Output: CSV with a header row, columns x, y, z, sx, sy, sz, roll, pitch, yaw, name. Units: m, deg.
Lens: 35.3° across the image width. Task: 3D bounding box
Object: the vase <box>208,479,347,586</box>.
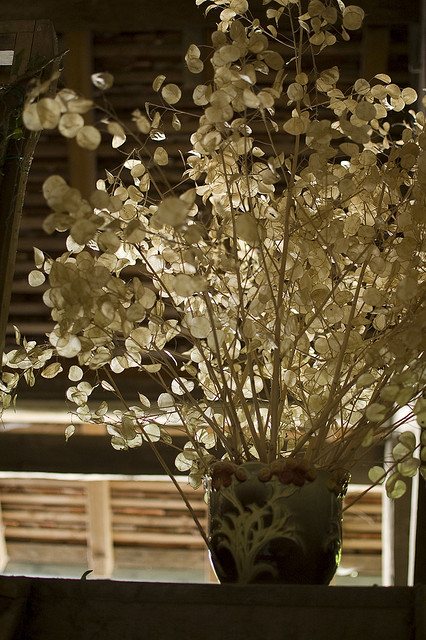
x,y,z,sx,sy,sz,roll,pitch,yaw,name
0.074,0.272,0.857,0.202,0.129,0.190,4,-25,-4,vase
